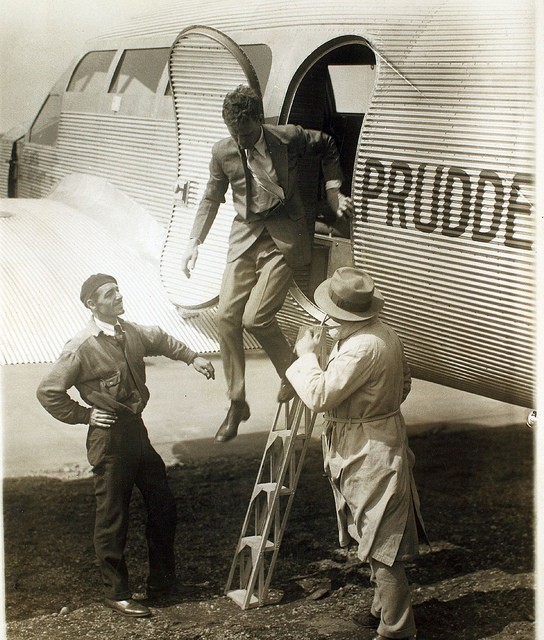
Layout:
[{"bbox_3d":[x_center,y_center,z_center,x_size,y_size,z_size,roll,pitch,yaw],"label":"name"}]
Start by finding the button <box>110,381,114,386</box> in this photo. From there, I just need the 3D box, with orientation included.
[{"bbox_3d":[-0.801,0.315,4.097,0.021,0.017,0.001,7,9,-26],"label":"button"}]

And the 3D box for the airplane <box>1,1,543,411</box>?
[{"bbox_3d":[-0.051,-0.919,4.558,2.674,1.110,2.713,21,19,13],"label":"airplane"}]

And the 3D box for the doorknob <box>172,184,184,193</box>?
[{"bbox_3d":[-0.540,-0.752,4.701,0.022,0.044,0.056,-6,45,-26],"label":"doorknob"}]

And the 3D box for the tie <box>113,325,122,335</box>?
[{"bbox_3d":[-0.778,0.051,4.133,0.041,0.041,0.010,8,-18,-41],"label":"tie"}]

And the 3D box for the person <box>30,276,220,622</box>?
[{"bbox_3d":[-0.752,0.660,4.217,0.951,1.652,0.498,8,9,-18],"label":"person"}]
